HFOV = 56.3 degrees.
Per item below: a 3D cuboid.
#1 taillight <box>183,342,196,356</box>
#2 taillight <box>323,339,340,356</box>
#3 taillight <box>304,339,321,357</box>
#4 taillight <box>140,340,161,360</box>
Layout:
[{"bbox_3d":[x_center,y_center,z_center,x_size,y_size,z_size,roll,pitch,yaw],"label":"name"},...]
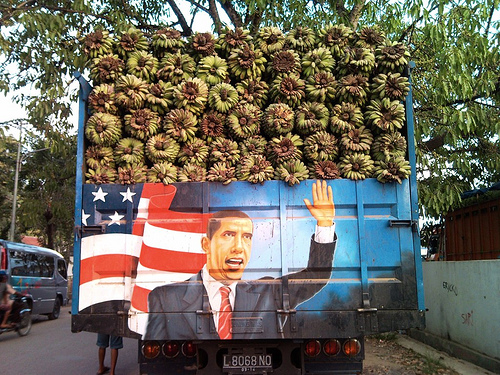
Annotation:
[{"bbox_3d":[-0.924,2.445,7.075,0.190,0.200,0.049,0,-5,-10],"label":"taillight"},{"bbox_3d":[1.186,2.350,6.850,0.241,0.233,0.018,-3,-5,8],"label":"taillight"},{"bbox_3d":[0.910,2.357,6.859,0.245,0.239,0.029,-2,-5,4],"label":"taillight"},{"bbox_3d":[-1.516,2.442,7.057,0.291,0.369,0.117,9,-4,-7],"label":"taillight"}]
